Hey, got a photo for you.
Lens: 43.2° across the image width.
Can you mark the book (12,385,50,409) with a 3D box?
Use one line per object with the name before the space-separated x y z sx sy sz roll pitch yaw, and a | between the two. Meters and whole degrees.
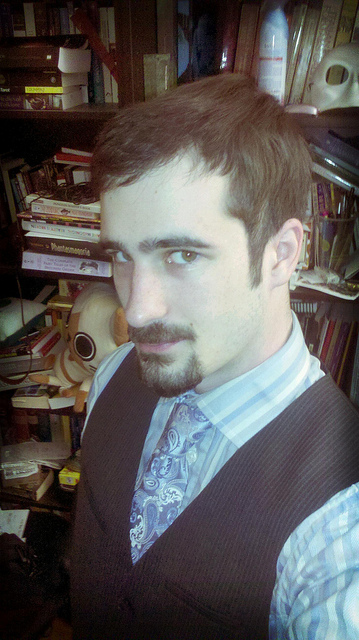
book | -0.521 0.282 1.589 0.084 0.028 0.088 3 3 1
